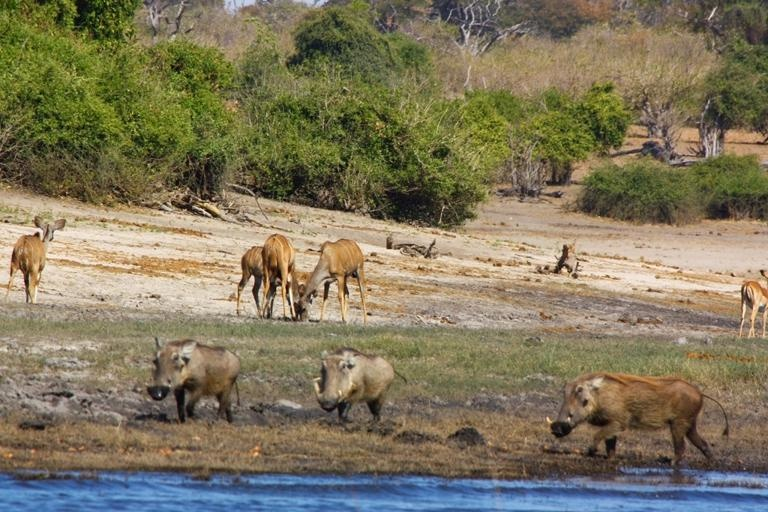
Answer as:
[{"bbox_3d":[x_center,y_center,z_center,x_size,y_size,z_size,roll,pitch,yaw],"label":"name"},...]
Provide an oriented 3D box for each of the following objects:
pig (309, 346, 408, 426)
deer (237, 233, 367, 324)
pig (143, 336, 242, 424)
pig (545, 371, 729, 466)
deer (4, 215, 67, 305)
[{"bbox_3d":[-0.772,4.731,53.012,1.482,2.729,4.606,-5,-15,33],"label":"pig"},{"bbox_3d":[-3.386,0.842,60.606,5.061,3.488,1.617,2,10,-9],"label":"deer"},{"bbox_3d":[-6.602,4.532,52.259,1.426,3.084,4.757,1,-5,29],"label":"pig"},{"bbox_3d":[8.853,5.650,51.891,5.946,3.426,1.563,2,8,3],"label":"pig"},{"bbox_3d":[-14.075,0.123,59.888,1.632,3.047,2.994,3,11,-1],"label":"deer"}]
